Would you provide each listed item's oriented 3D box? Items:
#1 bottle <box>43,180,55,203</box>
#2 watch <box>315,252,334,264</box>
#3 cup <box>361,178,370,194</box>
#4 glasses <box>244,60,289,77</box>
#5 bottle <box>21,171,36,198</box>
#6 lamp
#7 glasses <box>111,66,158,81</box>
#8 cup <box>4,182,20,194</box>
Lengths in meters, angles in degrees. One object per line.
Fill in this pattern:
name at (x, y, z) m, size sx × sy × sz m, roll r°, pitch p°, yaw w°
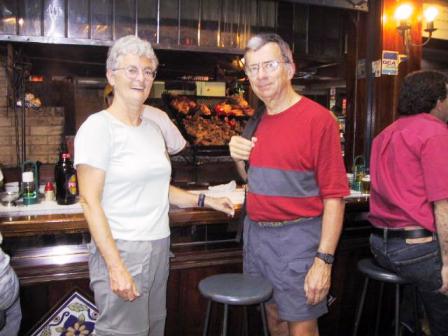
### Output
bottle at (-1.328, 0.170, 2.851) m, size 0.070 × 0.127 × 0.175 m, roll -7°, pitch 13°, yaw -25°
watch at (0.579, 0.508, 2.136) m, size 0.073 × 0.045 × 0.074 m, roll 5°, pitch 2°, yaw -5°
cup at (1.207, 0.148, 3.212) m, size 0.060 × 0.128 × 0.042 m, roll 4°, pitch 12°, yaw 25°
glasses at (0.257, -0.599, 2.248) m, size 0.257 × 0.083 × 0.087 m, roll -1°, pitch 11°, yaw 2°
bottle at (-1.436, 0.119, 2.750) m, size 0.082 × 0.172 × 0.127 m, roll -8°, pitch 13°, yaw -29°
lamp at (2.337, -1.701, 4.557) m, size 0.380 × 0.565 × 1.569 m, roll 5°, pitch 13°, yaw 29°
glasses at (-0.481, -0.519, 2.047) m, size 0.240 × 0.071 × 0.118 m, roll -6°, pitch 12°, yaw -21°
cup at (-1.610, 0.143, 2.865) m, size 0.091 × 0.064 × 0.094 m, roll 1°, pitch -2°, yaw 0°
